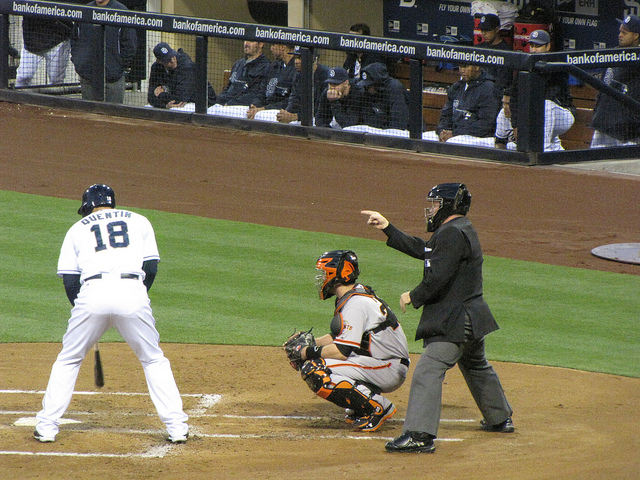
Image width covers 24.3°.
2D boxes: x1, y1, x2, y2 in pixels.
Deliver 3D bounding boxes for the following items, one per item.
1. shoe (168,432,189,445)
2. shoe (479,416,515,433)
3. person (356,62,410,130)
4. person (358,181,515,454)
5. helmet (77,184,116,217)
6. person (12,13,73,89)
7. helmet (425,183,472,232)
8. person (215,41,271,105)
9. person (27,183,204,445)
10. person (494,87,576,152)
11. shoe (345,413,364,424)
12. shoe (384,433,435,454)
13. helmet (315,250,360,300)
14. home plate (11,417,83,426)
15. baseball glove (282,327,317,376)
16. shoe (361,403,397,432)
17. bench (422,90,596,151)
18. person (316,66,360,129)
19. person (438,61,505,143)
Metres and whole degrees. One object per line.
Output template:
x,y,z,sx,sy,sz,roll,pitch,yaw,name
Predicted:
-1.288,1.816,13.621,0.188,0.095,0.180,3,8,-5,shoe
1.679,1.718,13.884,0.362,0.132,0.124,12,13,22,shoe
0.934,-2.063,21.158,0.753,0.908,0.764,5,9,4,person
1.181,0.700,13.724,1.334,2.444,0.996,4,9,-5,person
-2.057,-0.341,13.884,0.305,0.325,0.376,9,-21,-42,helmet
-4.347,-2.974,23.627,1.147,1.126,0.592,6,9,12,person
1.186,-0.293,13.713,0.382,0.471,0.320,1,9,-21,helmet
-1.117,-2.502,22.259,0.318,0.983,0.976,-1,10,-35,person
-1.902,0.686,13.674,1.400,2.324,0.875,3,9,-10,person
2.942,-1.588,20.287,1.137,1.065,0.837,-2,30,10,person
0.315,1.692,14.081,0.192,0.069,0.075,-16,-1,12,shoe
0.827,1.857,13.515,0.482,0.183,0.166,3,4,-3,shoe
0.161,0.298,13.789,0.527,0.404,0.370,1,5,0,helmet
-2.557,1.716,13.948,0.633,0.060,0.189,3,8,-3,home plate
-0.222,1.069,14.183,0.350,0.388,0.166,-25,42,-21,baseball glove
0.614,1.661,14.029,0.220,0.268,0.453,9,9,28,shoe
3.040,-1.667,20.674,1.410,1.173,0.870,4,5,37,bench
0.299,-2.050,21.469,0.590,0.892,0.969,4,8,-3,person
2.137,-1.898,20.532,1.104,1.145,0.485,12,11,40,person
